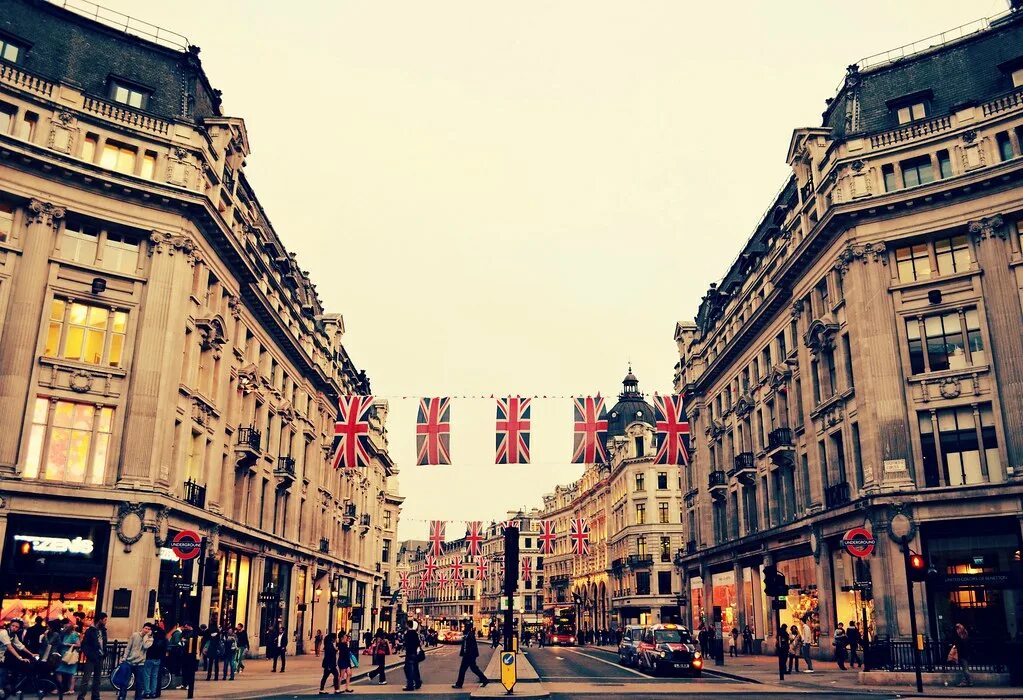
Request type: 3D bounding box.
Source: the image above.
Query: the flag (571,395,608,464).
[{"bbox_3d":[4.187,4.269,46.258,1.972,3.771,0.031,-1,-2,23],"label":"flag"}]

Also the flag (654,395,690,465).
[{"bbox_3d":[8.968,4.233,48.462,1.702,4.233,2.559,-4,-23,9],"label":"flag"}]

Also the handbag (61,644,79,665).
[{"bbox_3d":[-15.383,10.715,30.076,0.548,0.582,0.243,7,10,11],"label":"handbag"}]

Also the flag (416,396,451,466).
[{"bbox_3d":[-4.190,4.273,46.368,1.694,3.942,2.348,4,-23,-10],"label":"flag"}]

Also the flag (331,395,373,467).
[{"bbox_3d":[-9.046,4.467,49.083,1.932,4.258,1.200,5,-23,-14],"label":"flag"}]

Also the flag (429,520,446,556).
[{"bbox_3d":[-6.493,16.351,74.884,1.155,3.384,2.865,3,-23,-8],"label":"flag"}]

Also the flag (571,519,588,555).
[{"bbox_3d":[6.314,17.378,80.919,1.401,3.403,2.134,-1,-23,2],"label":"flag"}]

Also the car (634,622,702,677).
[{"bbox_3d":[7.919,15.025,43.252,2.150,2.748,4.392,0,-24,-2],"label":"car"}]

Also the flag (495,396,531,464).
[{"bbox_3d":[0.079,4.317,45.839,1.677,3.714,1.188,4,-23,-10],"label":"flag"}]
